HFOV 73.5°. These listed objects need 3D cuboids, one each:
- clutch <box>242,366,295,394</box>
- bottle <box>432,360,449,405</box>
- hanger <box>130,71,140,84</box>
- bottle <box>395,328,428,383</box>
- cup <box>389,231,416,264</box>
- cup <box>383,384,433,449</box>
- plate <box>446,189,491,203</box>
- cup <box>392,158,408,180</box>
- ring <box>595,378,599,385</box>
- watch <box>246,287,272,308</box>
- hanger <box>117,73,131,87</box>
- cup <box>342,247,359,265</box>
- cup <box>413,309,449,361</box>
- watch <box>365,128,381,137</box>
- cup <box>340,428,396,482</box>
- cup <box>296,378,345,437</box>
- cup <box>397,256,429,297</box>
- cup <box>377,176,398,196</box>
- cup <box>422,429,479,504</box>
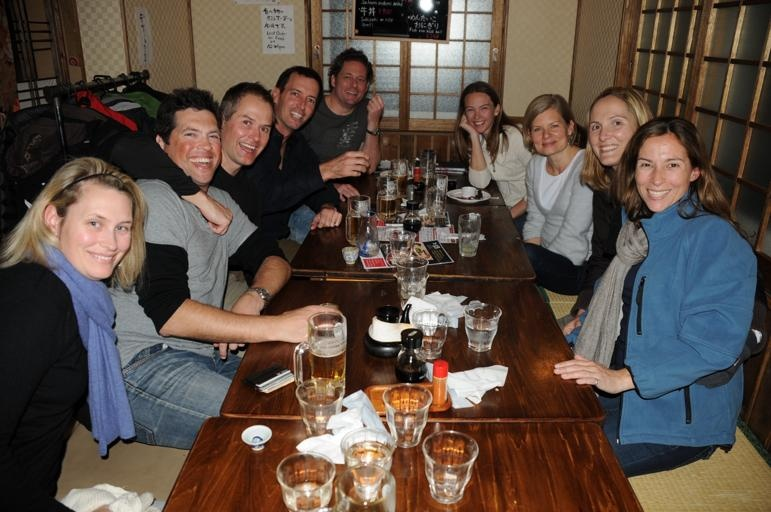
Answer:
[{"bbox_3d":[-0.436,0.470,1.942,0.169,0.037,0.101,-16,26,-31],"label":"clutch"},{"bbox_3d":[0.195,0.454,1.859,0.059,0.163,0.082,0,21,6],"label":"bottle"},{"bbox_3d":[-1.853,-1.309,3.795,0.072,0.077,0.298,-10,23,-21],"label":"hanger"},{"bbox_3d":[0.090,0.386,1.969,0.130,0.191,0.135,1,32,-1],"label":"bottle"},{"bbox_3d":[0.081,-0.057,2.822,0.157,0.186,0.169,1,41,0],"label":"cup"},{"bbox_3d":[0.094,0.564,1.787,0.173,0.159,0.182,-3,32,2],"label":"cup"},{"bbox_3d":[0.613,-0.437,3.787,0.326,0.068,0.243,1,22,6],"label":"plate"},{"bbox_3d":[0.106,-0.666,3.899,0.141,0.171,0.151,-2,49,2],"label":"cup"},{"bbox_3d":[0.822,0.491,2.005,0.018,0.019,0.004,-5,-11,39],"label":"ring"},{"bbox_3d":[-0.599,0.200,2.455,0.104,0.106,0.070,-27,25,49],"label":"watch"},{"bbox_3d":[-1.812,-1.213,3.548,0.069,0.069,0.286,-11,24,-23],"label":"hanger"},{"bbox_3d":[-0.188,-0.012,2.788,0.080,0.066,0.088,-1,31,0],"label":"cup"},{"bbox_3d":[0.190,0.317,2.131,0.168,0.185,0.171,-1,43,1],"label":"cup"},{"bbox_3d":[-0.133,-1.074,4.489,0.080,0.040,0.078,-3,8,-39],"label":"watch"},{"bbox_3d":[-0.057,0.609,1.609,0.138,0.114,0.141,-1,40,1],"label":"cup"},{"bbox_3d":[-0.234,0.512,1.800,0.156,0.135,0.162,1,33,-1],"label":"cup"},{"bbox_3d":[0.141,0.087,2.475,0.169,0.183,0.144,-15,36,-20],"label":"cup"},{"bbox_3d":[0.005,-0.462,3.394,0.125,0.142,0.148,-2,47,-5],"label":"cup"},{"bbox_3d":[0.198,0.660,1.632,0.174,0.150,0.182,-2,29,1],"label":"cup"}]
